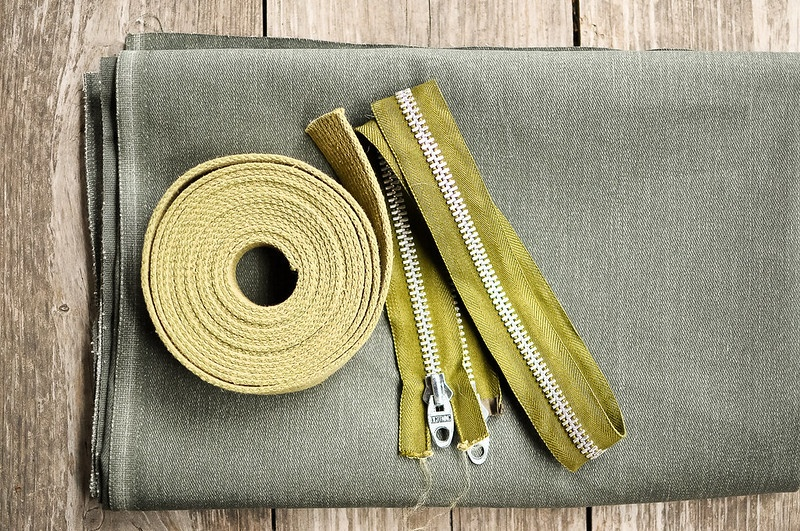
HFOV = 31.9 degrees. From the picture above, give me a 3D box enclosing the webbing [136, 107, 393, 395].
[{"bbox_3d":[-0.169,0.004,1.839,0.333,0.080,0.317,-21,84,-1],"label":"webbing"}]
